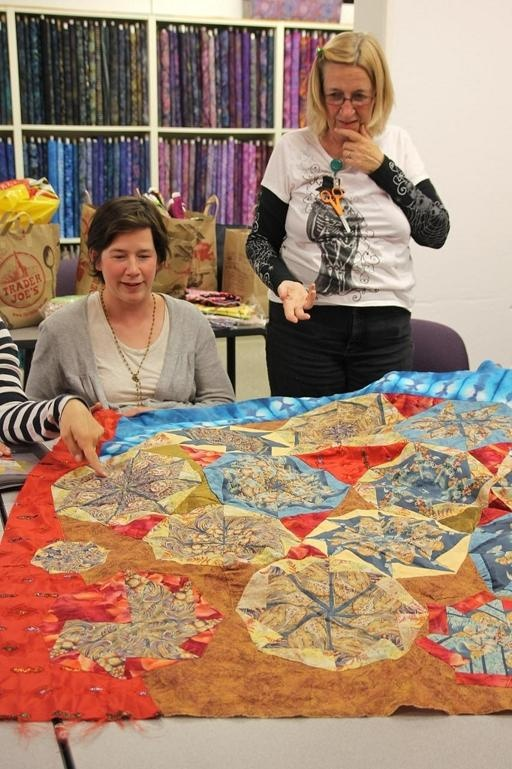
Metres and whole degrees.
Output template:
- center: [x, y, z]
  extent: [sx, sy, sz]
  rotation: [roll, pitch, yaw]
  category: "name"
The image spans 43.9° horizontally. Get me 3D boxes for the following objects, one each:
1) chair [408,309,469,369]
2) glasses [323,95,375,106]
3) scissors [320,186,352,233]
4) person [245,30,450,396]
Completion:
- center: [0.566, -0.124, 1.976]
  extent: [0.173, 0.180, 0.228]
  rotation: [-2, -1, 26]
  category: "chair"
- center: [0.218, -0.663, 1.487]
  extent: [0.100, 0.027, 0.037]
  rotation: [3, 17, 2]
  category: "glasses"
- center: [0.198, -0.439, 1.588]
  extent: [0.055, 0.127, 0.011]
  rotation: [-29, -9, 12]
  category: "scissors"
- center: [0.219, -0.390, 1.641]
  extent: [0.515, 0.908, 0.198]
  rotation: [8, 19, 16]
  category: "person"
